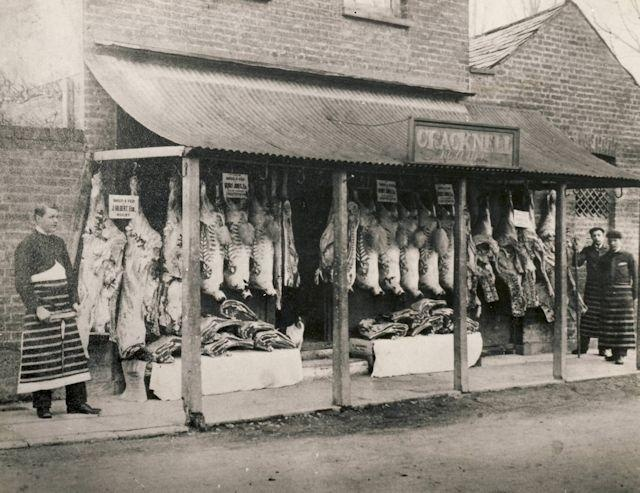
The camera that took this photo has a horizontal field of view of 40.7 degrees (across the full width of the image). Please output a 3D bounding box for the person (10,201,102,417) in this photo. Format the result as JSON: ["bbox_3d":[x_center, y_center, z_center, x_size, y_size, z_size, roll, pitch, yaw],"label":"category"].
[{"bbox_3d":[-3.513,0.857,11.333,0.926,2.764,0.530,-1,8,-23],"label":"person"}]

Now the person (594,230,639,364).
[{"bbox_3d":[5.531,0.962,16.013,0.708,2.420,0.733,4,7,19],"label":"person"}]

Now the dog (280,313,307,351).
[{"bbox_3d":[-0.505,1.362,13.933,0.358,0.595,0.570,16,-16,11],"label":"dog"}]

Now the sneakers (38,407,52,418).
[{"bbox_3d":[-3.618,2.194,11.306,0.085,0.111,0.241,3,-11,-27],"label":"sneakers"}]
